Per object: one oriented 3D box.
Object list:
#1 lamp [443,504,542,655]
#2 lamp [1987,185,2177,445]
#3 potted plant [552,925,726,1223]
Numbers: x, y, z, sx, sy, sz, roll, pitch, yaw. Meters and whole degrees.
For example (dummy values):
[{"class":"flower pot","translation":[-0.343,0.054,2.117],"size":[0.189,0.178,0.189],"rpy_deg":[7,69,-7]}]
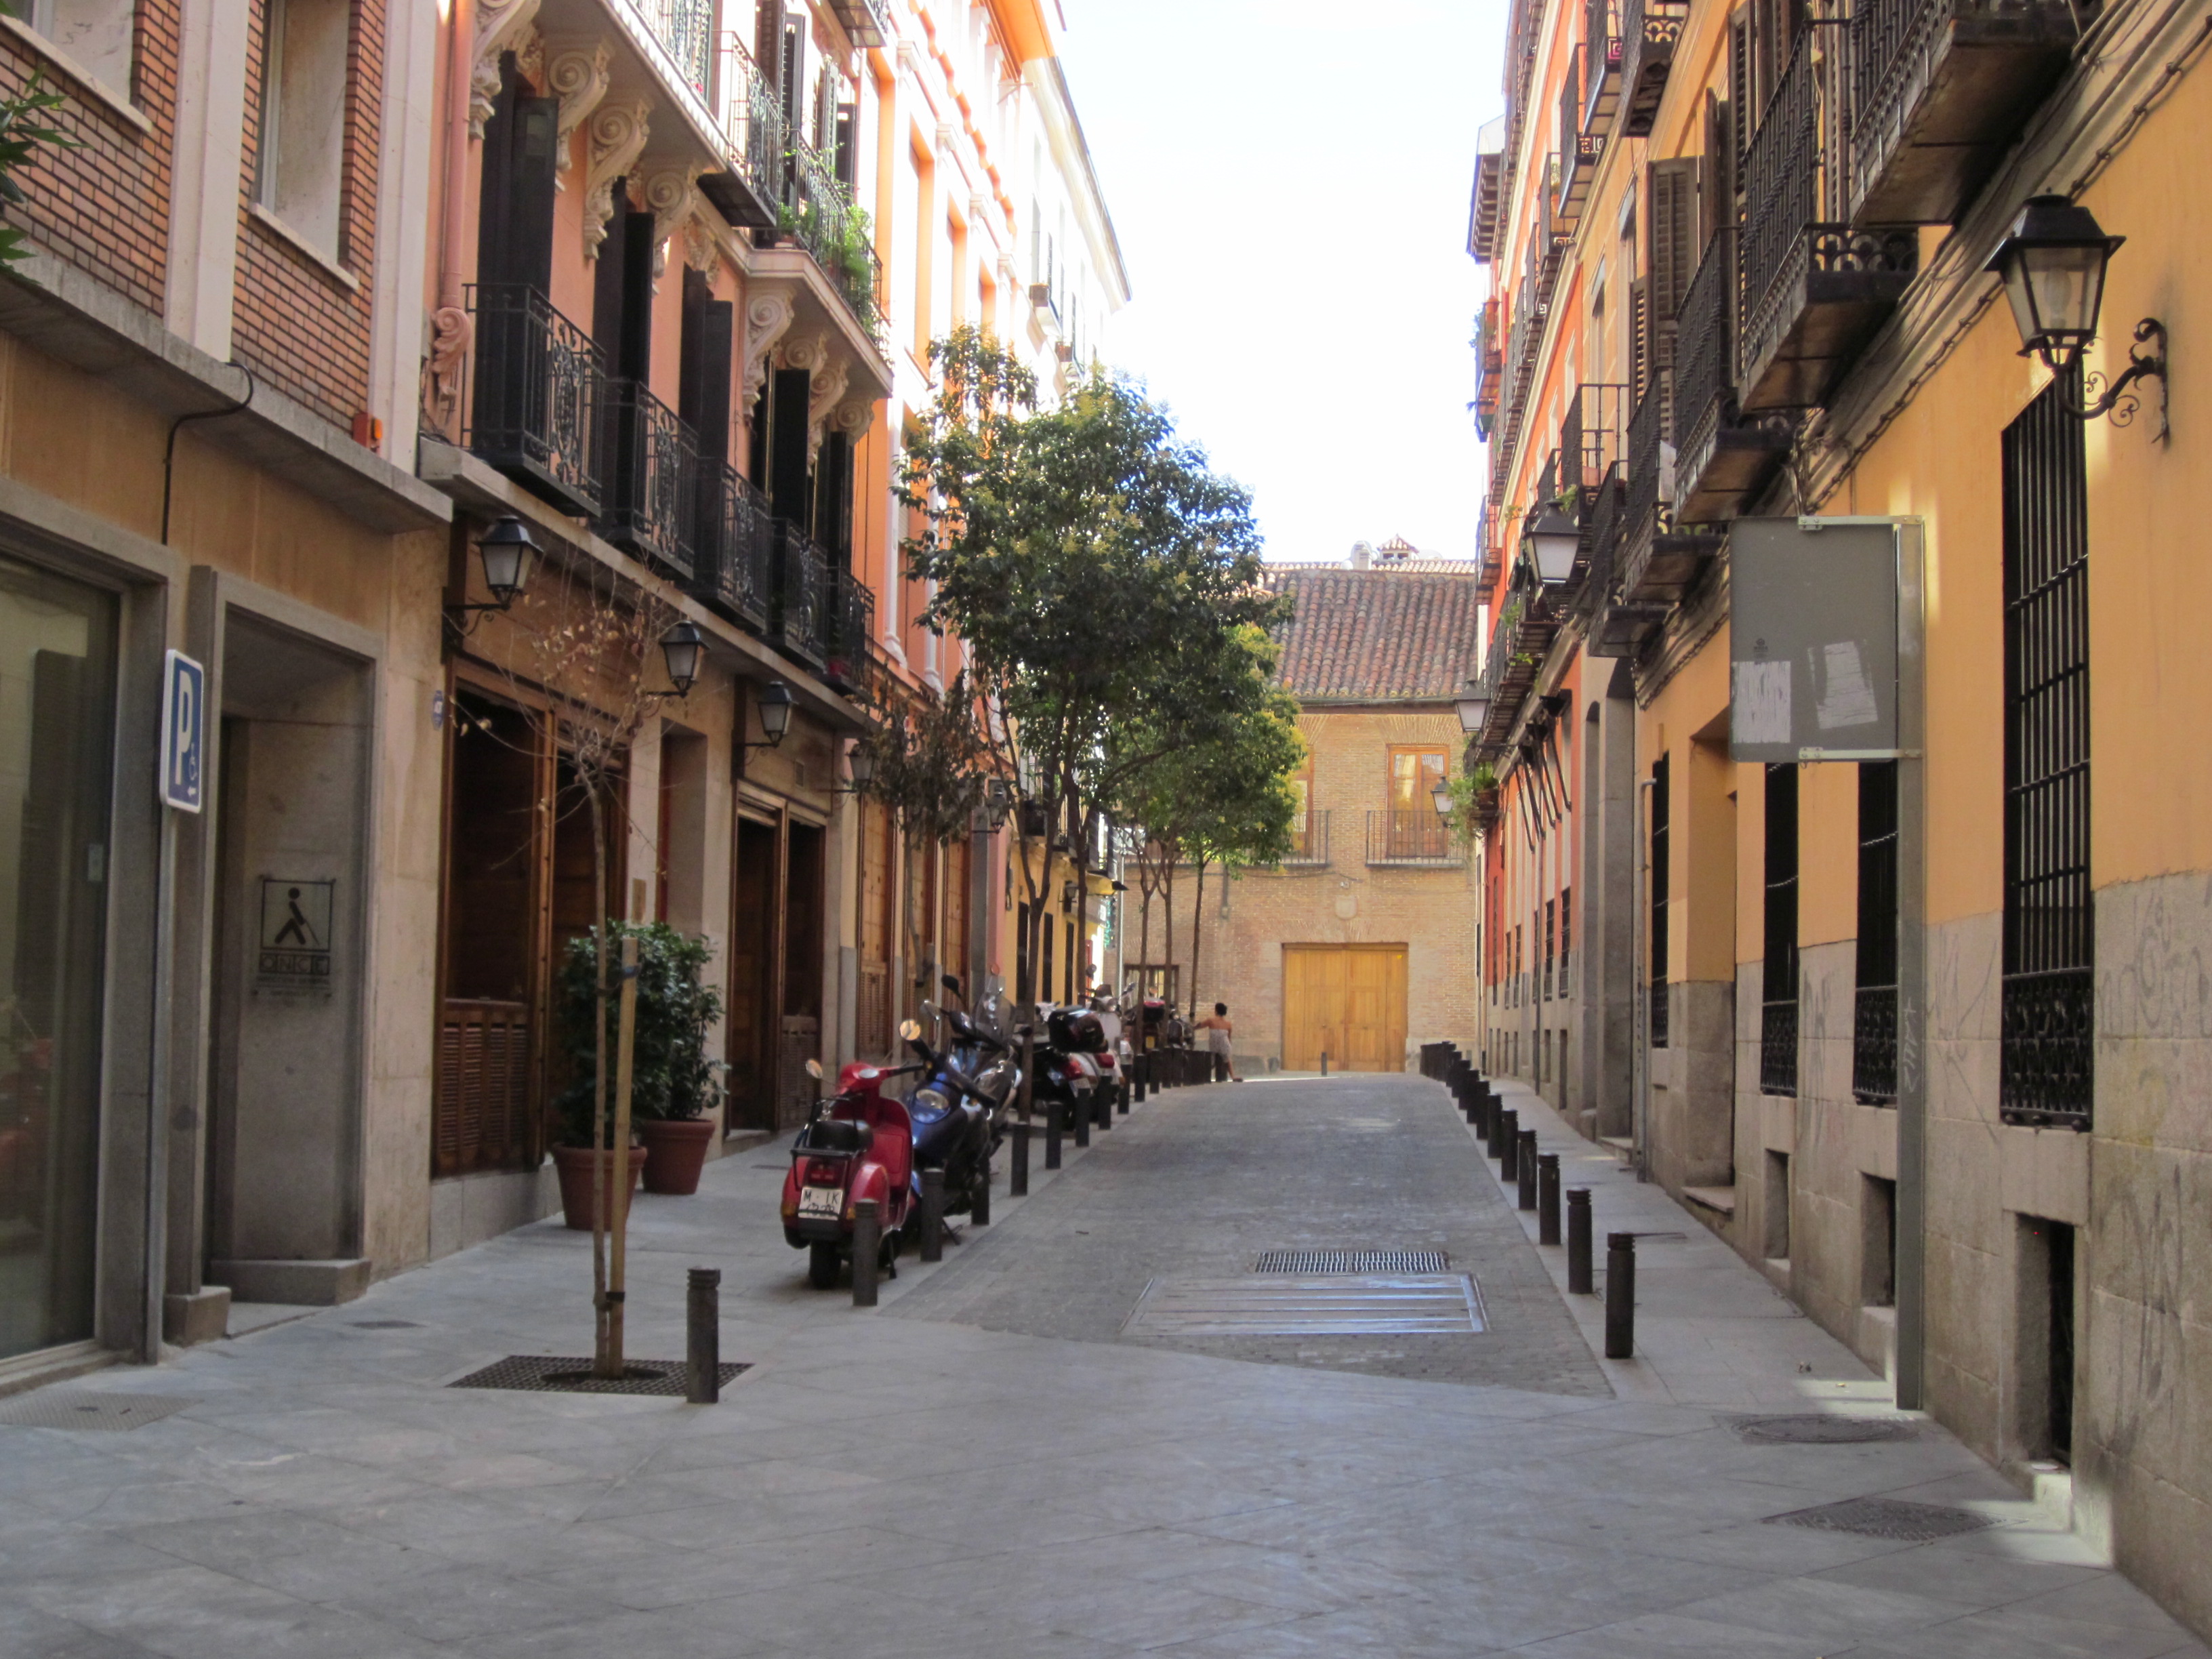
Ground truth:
[{"class":"lamp","translation":[-4.144,-1.658,15.121],"size":[0.516,0.977,0.824],"rpy_deg":[3,-9,-32]},{"class":"lamp","translation":[3.862,-2.075,8.833],"size":[0.601,1.216,0.386],"rpy_deg":[20,47,40]},{"class":"potted plant","translation":[-3.584,1.852,17.334],"size":[1.060,2.285,2.480],"rpy_deg":[-2,-8,2]}]
